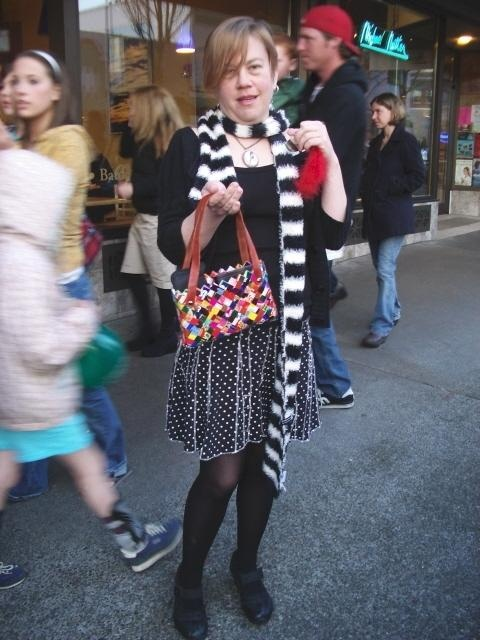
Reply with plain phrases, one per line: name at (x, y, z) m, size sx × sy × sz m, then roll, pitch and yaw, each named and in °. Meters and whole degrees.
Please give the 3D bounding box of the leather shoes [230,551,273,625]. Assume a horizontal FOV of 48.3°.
leather shoes at (0.026, 0.856, 1.788) m, size 0.088 × 0.100 × 0.255 m, roll -7°, pitch 44°, yaw -13°

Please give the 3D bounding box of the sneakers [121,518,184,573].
sneakers at (-0.312, 0.838, 2.059) m, size 0.103 × 0.130 × 0.265 m, roll 12°, pitch 29°, yaw 30°

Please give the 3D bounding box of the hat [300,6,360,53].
hat at (0.498, -1.412, 2.653) m, size 0.309 × 0.181 × 0.213 m, roll 7°, pitch 24°, yaw -28°

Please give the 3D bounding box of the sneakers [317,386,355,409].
sneakers at (0.605, 0.486, 3.418) m, size 0.257 × 0.122 × 0.097 m, roll 2°, pitch 23°, yaw 4°

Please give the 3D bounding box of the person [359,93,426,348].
person at (1.305, -0.911, 4.654) m, size 0.524 × 2.117 × 0.861 m, roll 3°, pitch 13°, yaw 12°

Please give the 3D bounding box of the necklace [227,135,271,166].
necklace at (0.020, -0.469, 1.481) m, size 0.089 × 0.100 × 0.009 m, roll -10°, pitch -11°, yaw -11°

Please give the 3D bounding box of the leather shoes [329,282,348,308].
leather shoes at (0.912, -0.227, 4.975) m, size 0.126 × 0.269 × 0.094 m, roll 5°, pitch 45°, yaw -11°

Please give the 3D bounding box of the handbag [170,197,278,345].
handbag at (-0.049, -0.132, 1.399) m, size 0.286 × 0.381 × 0.104 m, roll -16°, pitch 33°, yaw -14°
